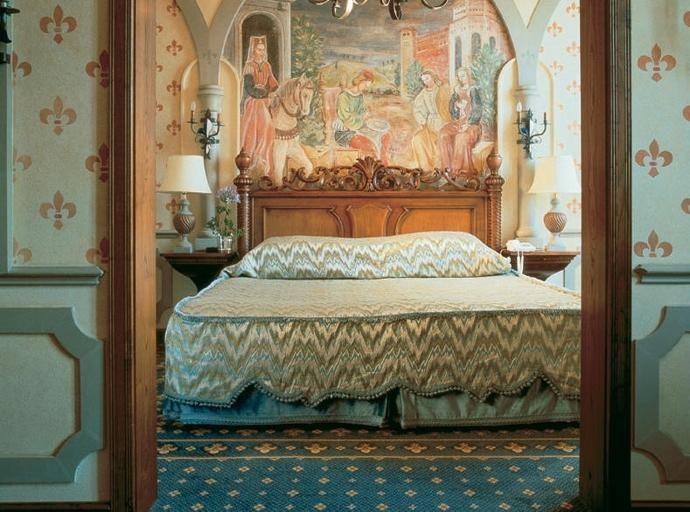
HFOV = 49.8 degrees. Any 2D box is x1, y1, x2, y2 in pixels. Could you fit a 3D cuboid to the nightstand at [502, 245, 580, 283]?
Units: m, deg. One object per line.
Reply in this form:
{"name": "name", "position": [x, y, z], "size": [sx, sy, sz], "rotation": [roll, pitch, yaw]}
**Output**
{"name": "nightstand", "position": [1.574, 0.021, 5.907], "size": [0.324, 0.224, 0.345], "rotation": [0, 5, 0]}

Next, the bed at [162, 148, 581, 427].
{"name": "bed", "position": [0.249, 0.053, 5.083], "size": [2.331, 1.609, 2.506], "rotation": [-1, 3, 5]}

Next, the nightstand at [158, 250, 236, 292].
{"name": "nightstand", "position": [-1.138, 0.060, 5.786], "size": [0.360, 0.397, 0.388], "rotation": [1, 3, 4]}

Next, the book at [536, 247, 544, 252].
{"name": "book", "position": [1.625, -0.060, 6.131], "size": [0.044, 0.030, 0.046], "rotation": [0, 0, -1]}

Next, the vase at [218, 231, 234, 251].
{"name": "vase", "position": [-0.956, -0.124, 5.967], "size": [0.116, 0.151, 0.131], "rotation": [0, -1, -9]}
